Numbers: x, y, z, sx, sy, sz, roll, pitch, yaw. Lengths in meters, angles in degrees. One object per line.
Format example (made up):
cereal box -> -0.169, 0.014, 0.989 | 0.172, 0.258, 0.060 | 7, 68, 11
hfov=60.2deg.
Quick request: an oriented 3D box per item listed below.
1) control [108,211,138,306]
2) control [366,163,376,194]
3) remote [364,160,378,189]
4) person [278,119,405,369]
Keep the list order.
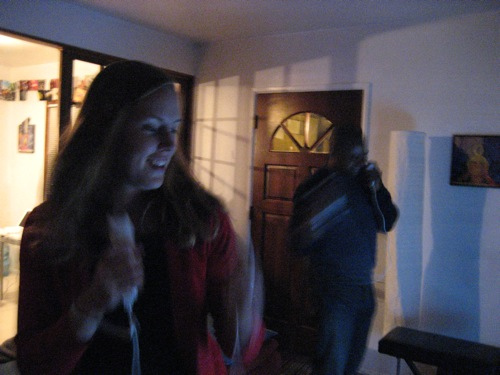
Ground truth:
control -> -0.225, 0.117, 0.745 | 0.075, 0.139, 0.031 | -2, 3, -42
control -> 0.449, -0.028, 1.587 | 0.028, 0.091, 0.064 | -1, 13, -15
remote -> 0.448, -0.055, 1.586 | 0.028, 0.091, 0.061 | 1, -8, 39
person -> 0.326, 0.214, 1.597 | 0.424, 0.889, 0.335 | 2, 4, 4
